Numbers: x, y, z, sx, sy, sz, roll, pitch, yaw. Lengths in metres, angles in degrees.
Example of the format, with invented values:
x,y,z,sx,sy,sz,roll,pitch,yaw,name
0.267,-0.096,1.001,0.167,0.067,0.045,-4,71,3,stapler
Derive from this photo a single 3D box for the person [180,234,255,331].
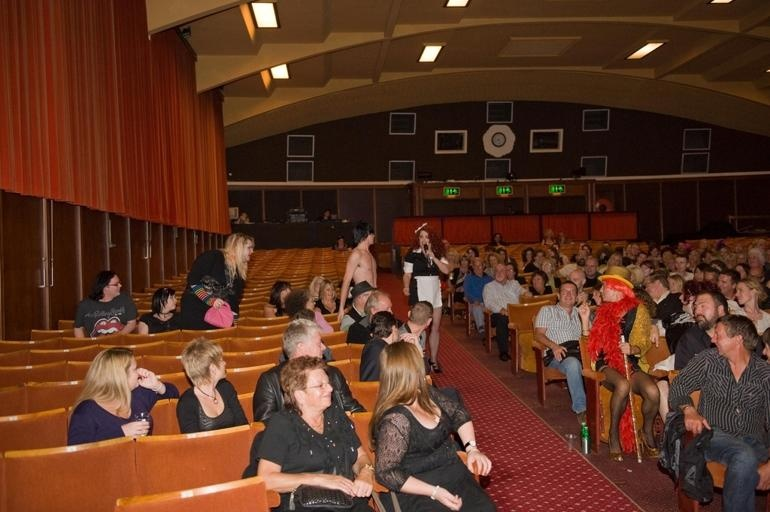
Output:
x,y,z,sx,sy,sz,roll,pitch,yaw,name
-1.940,0.297,6.543,0.817,1.120,0.536,-4,12,-21,person

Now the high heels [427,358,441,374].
x,y,z,sx,sy,sz,roll,pitch,yaw,name
0.689,1.498,7.773,0.173,0.195,0.496,2,-9,-18,high heels

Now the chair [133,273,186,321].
x,y,z,sx,sy,sz,roll,pitch,yaw,name
-3.663,0.637,9.110,0.470,0.737,0.590,0,-9,-6,chair

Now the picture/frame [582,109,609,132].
x,y,z,sx,sy,sz,roll,pitch,yaw,name
9.162,-5.897,24.647,0.870,0.767,0.066,0,7,2,picture/frame

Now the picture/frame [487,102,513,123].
x,y,z,sx,sy,sz,roll,pitch,yaw,name
4.900,-6.239,24.621,0.820,0.705,0.071,0,5,0,picture/frame

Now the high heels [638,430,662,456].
x,y,z,sx,sy,sz,roll,pitch,yaw,name
2.709,1.899,5.868,0.224,0.227,0.182,8,13,33,high heels

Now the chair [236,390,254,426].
x,y,z,sx,sy,sz,roll,pitch,yaw,name
-1.204,1.312,4.954,0.210,0.298,0.247,0,-2,-13,chair

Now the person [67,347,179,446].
x,y,z,sx,sy,sz,roll,pitch,yaw,name
-2.158,1.173,4.679,0.415,1.198,0.590,-1,4,14,person

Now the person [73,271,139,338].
x,y,z,sx,sy,sz,roll,pitch,yaw,name
-3.739,0.649,7.516,0.712,0.763,0.389,-1,-4,-37,person

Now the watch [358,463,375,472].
x,y,z,sx,sy,sz,roll,pitch,yaw,name
-0.148,1.594,4.306,0.079,0.041,0.106,-1,-5,4,watch

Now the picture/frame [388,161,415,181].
x,y,z,sx,sy,sz,roll,pitch,yaw,name
0.668,-3.696,24.670,0.798,0.661,0.066,0,6,-3,picture/frame

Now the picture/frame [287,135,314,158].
x,y,z,sx,sy,sz,roll,pitch,yaw,name
-3.689,-4.728,24.332,0.841,0.782,0.097,-2,8,-5,picture/frame

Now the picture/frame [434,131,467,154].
x,y,z,sx,sy,sz,roll,pitch,yaw,name
2.847,-4.897,24.619,1.441,0.987,0.197,1,11,1,picture/frame

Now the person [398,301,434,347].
x,y,z,sx,sy,sz,roll,pitch,yaw,name
0.360,0.768,6.418,0.300,0.263,0.867,-15,-30,-10,person

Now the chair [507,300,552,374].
x,y,z,sx,sy,sz,roll,pitch,yaw,name
1.948,1.134,8.046,0.761,1.065,0.850,-1,-2,-1,chair

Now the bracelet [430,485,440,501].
x,y,z,sx,sy,sz,roll,pitch,yaw,name
0.364,1.731,4.187,0.049,0.093,0.086,2,-24,-5,bracelet

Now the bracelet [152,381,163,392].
x,y,z,sx,sy,sz,roll,pitch,yaw,name
-1.942,1.111,4.855,0.074,0.034,0.087,-1,6,0,bracelet

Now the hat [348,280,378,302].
x,y,z,sx,sy,sz,roll,pitch,yaw,name
-0.283,0.404,6.764,0.185,0.148,0.272,-16,-3,3,hat

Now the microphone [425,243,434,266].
x,y,z,sx,sy,sz,roll,pitch,yaw,name
0.587,-0.031,7.631,0.061,0.314,0.096,-7,-12,7,microphone

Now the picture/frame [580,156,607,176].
x,y,z,sx,sy,sz,roll,pitch,yaw,name
8.993,-3.866,24.489,1.008,0.862,0.113,0,3,3,picture/frame

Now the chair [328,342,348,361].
x,y,z,sx,sy,sz,roll,pitch,yaw,name
-0.485,0.978,5.882,0.135,0.203,0.158,0,3,-5,chair

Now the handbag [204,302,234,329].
x,y,z,sx,sy,sz,roll,pitch,yaw,name
-1.917,0.667,6.528,0.226,0.258,0.122,14,19,2,handbag

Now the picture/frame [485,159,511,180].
x,y,z,sx,sy,sz,roll,pitch,yaw,name
4.848,-3.780,24.593,1.138,0.891,0.513,2,11,7,picture/frame

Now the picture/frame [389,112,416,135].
x,y,z,sx,sy,sz,roll,pitch,yaw,name
0.694,-5.743,24.543,0.881,0.800,0.092,2,14,-5,picture/frame

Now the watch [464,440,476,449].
x,y,z,sx,sy,sz,roll,pitch,yaw,name
0.668,1.477,4.499,0.080,0.053,0.081,-6,-37,-11,watch

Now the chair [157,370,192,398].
x,y,z,sx,sy,sz,roll,pitch,yaw,name
-1.958,1.141,5.248,0.228,0.337,0.266,-2,6,-25,chair

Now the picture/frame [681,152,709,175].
x,y,z,sx,sy,sz,roll,pitch,yaw,name
13.368,-4.012,24.513,1.251,0.921,0.346,-2,11,-10,picture/frame

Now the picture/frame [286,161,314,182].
x,y,z,sx,sy,sz,roll,pitch,yaw,name
-3.720,-3.613,24.380,0.848,0.701,0.067,0,-3,-8,picture/frame

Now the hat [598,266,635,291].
x,y,z,sx,sy,sz,roll,pitch,yaw,name
2.576,0.233,6.313,0.313,0.120,0.291,25,-7,-1,hat

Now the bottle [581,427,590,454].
x,y,z,sx,sy,sz,roll,pitch,yaw,name
2.084,1.872,5.894,0.089,0.259,0.217,4,12,17,bottle

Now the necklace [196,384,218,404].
x,y,z,sx,sy,sz,roll,pitch,yaw,name
-1.459,1.117,4.620,0.158,0.157,0.080,1,-4,-44,necklace

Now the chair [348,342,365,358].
x,y,z,sx,sy,sz,roll,pitch,yaw,name
-0.316,0.973,5.951,0.211,0.226,0.163,0,-5,-7,chair
